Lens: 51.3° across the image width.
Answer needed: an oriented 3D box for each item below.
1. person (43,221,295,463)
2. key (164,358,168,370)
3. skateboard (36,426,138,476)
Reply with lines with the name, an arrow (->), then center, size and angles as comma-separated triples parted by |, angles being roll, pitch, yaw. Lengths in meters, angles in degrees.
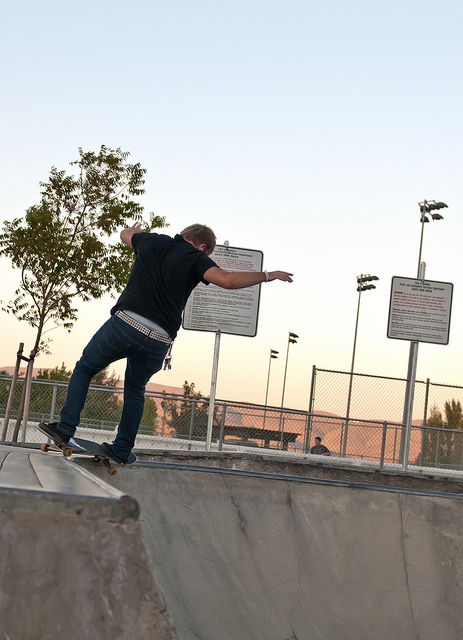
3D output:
person -> -0.468, 0.117, 2.879 | 1.069, 1.135, 0.418 | 8, -5, 12
key -> -0.760, 0.511, 5.515 | 0.035, 0.151, 0.040 | 6, 2, 3
skateboard -> -0.790, 0.823, 2.844 | 0.632, 0.113, 0.246 | 22, 5, -15
